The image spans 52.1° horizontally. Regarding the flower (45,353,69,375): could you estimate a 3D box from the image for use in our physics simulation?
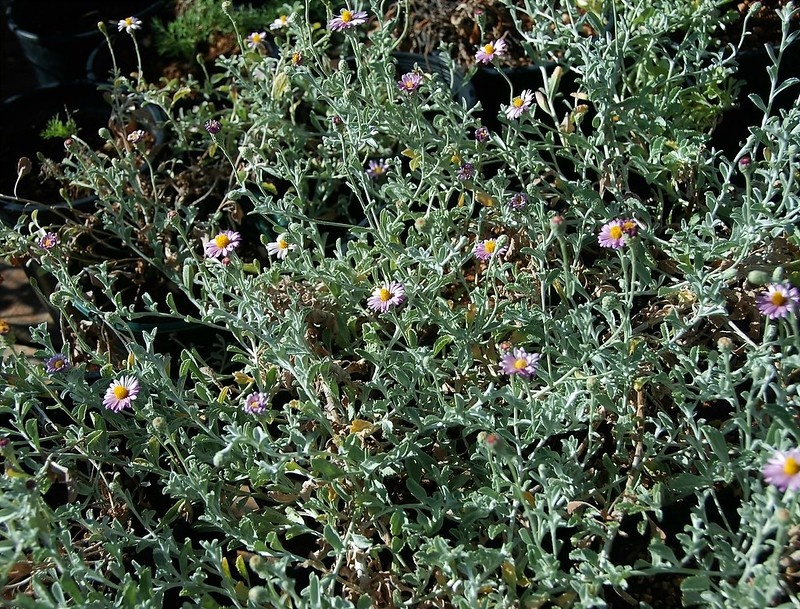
[{"bbox_3d":[-0.700,0.117,1.679,0.038,0.017,0.043,22,58,13],"label":"flower"}]

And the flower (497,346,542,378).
[{"bbox_3d":[0.225,0.123,1.533,0.058,0.028,0.064,-6,23,2],"label":"flower"}]

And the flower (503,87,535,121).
[{"bbox_3d":[0.278,-0.473,1.910,0.074,0.019,0.083,-36,57,29],"label":"flower"}]

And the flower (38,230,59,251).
[{"bbox_3d":[-0.778,-0.146,1.821,0.043,0.020,0.050,3,28,0],"label":"flower"}]

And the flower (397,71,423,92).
[{"bbox_3d":[0.026,-0.530,1.927,0.052,0.024,0.061,-23,50,10],"label":"flower"}]

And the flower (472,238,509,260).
[{"bbox_3d":[0.205,-0.116,1.786,0.056,0.021,0.057,-36,27,-12],"label":"flower"}]

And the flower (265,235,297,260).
[{"bbox_3d":[-0.259,-0.113,1.816,0.055,0.065,0.022,8,19,26],"label":"flower"}]

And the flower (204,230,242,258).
[{"bbox_3d":[-0.378,-0.127,1.768,0.064,0.027,0.068,-10,36,45],"label":"flower"}]
